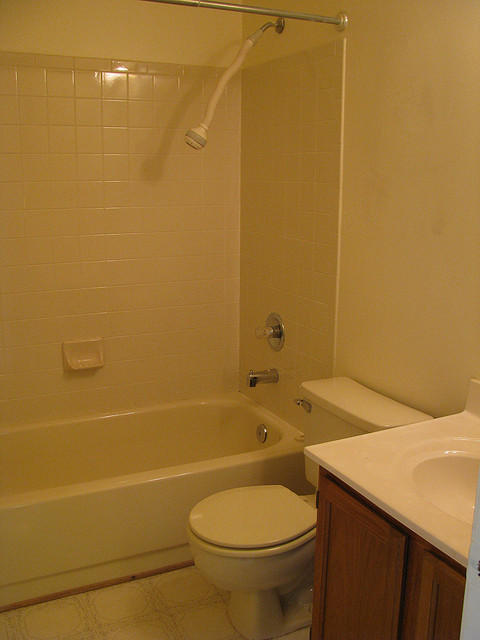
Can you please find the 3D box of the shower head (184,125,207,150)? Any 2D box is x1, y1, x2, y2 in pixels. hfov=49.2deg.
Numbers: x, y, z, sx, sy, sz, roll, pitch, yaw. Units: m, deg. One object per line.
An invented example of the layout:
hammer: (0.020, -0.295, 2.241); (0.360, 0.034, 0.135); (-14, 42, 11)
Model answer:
shower head: (-0.159, -0.655, 1.891); (0.074, 0.079, 0.149); (-1, 7, -5)
